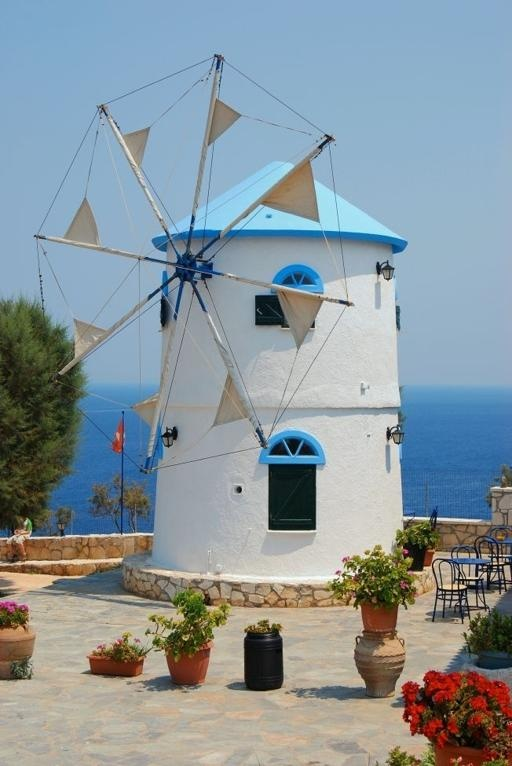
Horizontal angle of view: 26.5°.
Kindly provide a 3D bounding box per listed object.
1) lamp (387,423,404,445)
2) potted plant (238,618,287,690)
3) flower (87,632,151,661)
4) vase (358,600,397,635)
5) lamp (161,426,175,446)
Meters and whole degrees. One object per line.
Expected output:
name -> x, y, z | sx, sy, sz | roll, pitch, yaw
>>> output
lamp -> 2.484, 0.925, 19.674 | 0.362, 0.482, 0.317 | 0, 4, 2
potted plant -> 0.117, 3.149, 12.581 | 0.484, 0.684, 0.466 | -1, 2, -16
flower -> -1.587, 3.247, 13.426 | 0.654, 0.222, 0.681 | 0, -3, 5
vase -> 1.362, 2.598, 12.089 | 0.340, 0.235, 0.333 | 14, -21, -35
lamp -> -1.570, 0.979, 19.522 | 0.225, 0.369, 0.317 | -1, 2, -25
